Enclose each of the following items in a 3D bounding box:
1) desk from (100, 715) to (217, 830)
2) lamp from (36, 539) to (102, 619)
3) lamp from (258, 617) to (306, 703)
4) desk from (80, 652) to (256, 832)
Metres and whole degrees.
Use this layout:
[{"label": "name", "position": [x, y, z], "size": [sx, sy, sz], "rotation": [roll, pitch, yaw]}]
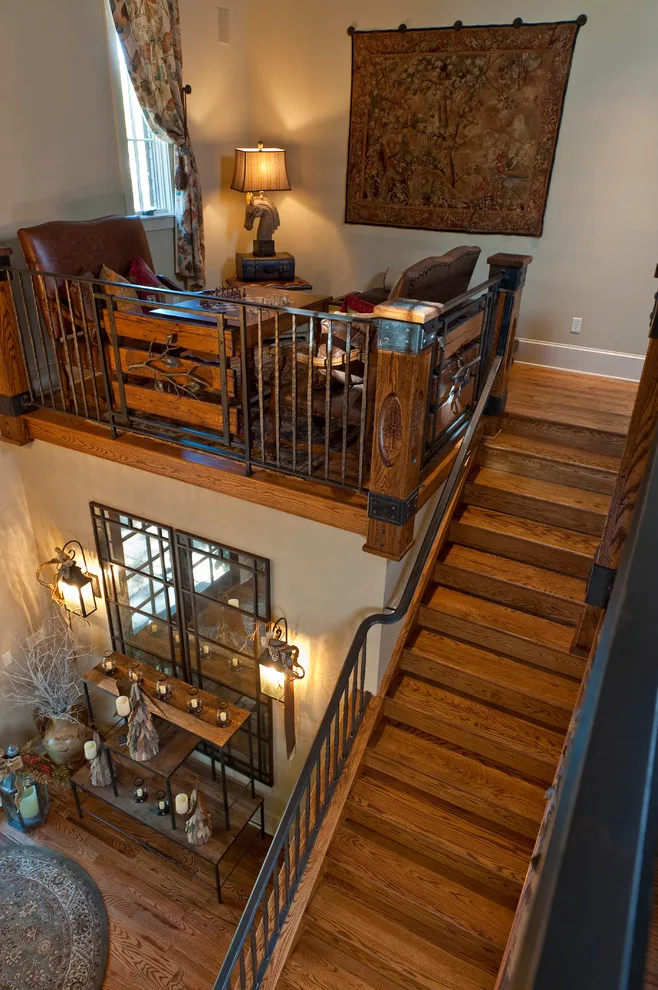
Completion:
[{"label": "desk", "position": [-1.222, 1.793, 4.860], "size": [0.605, 0.612, 0.648], "rotation": [18, 47, 19]}, {"label": "lamp", "position": [-1.835, 0.568, 4.862], "size": [0.280, 0.642, 0.332], "rotation": [19, 45, 16]}, {"label": "lamp", "position": [-0.272, 0.952, 4.055], "size": [0.249, 0.557, 0.177], "rotation": [32, 58, 21]}, {"label": "desk", "position": [-1.061, 1.688, 4.654], "size": [1.073, 0.975, 0.347], "rotation": [22, 39, 27]}]
